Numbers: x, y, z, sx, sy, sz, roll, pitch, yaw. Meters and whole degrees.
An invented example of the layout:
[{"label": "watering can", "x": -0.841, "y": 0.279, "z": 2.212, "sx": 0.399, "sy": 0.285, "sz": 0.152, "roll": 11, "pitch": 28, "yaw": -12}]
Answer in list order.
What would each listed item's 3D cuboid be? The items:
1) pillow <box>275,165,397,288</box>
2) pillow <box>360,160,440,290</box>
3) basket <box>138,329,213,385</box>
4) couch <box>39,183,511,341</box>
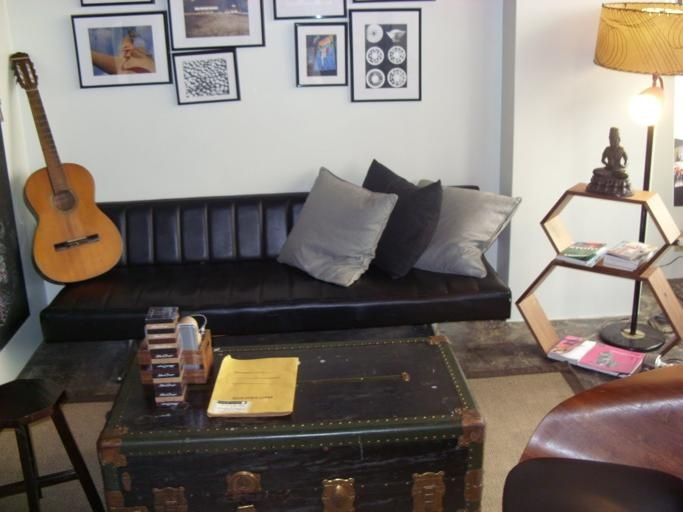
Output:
[{"label": "pillow", "x": -0.020, "y": -0.142, "z": 3.452, "sx": 0.716, "sy": 0.682, "sz": 0.213, "roll": 22, "pitch": -1, "yaw": 23}, {"label": "pillow", "x": 0.354, "y": -0.160, "z": 3.421, "sx": 0.333, "sy": 0.596, "sz": 0.650, "roll": -17, "pitch": 46, "yaw": -35}, {"label": "basket", "x": -0.664, "y": 0.429, "z": 2.287, "sx": 0.246, "sy": 0.137, "sz": 0.234, "roll": 0, "pitch": 16, "yaw": -3}, {"label": "couch", "x": -0.479, "y": -0.007, "z": 3.523, "sx": 2.594, "sy": 0.706, "sz": 0.910, "roll": -2, "pitch": 20, "yaw": -2}]
